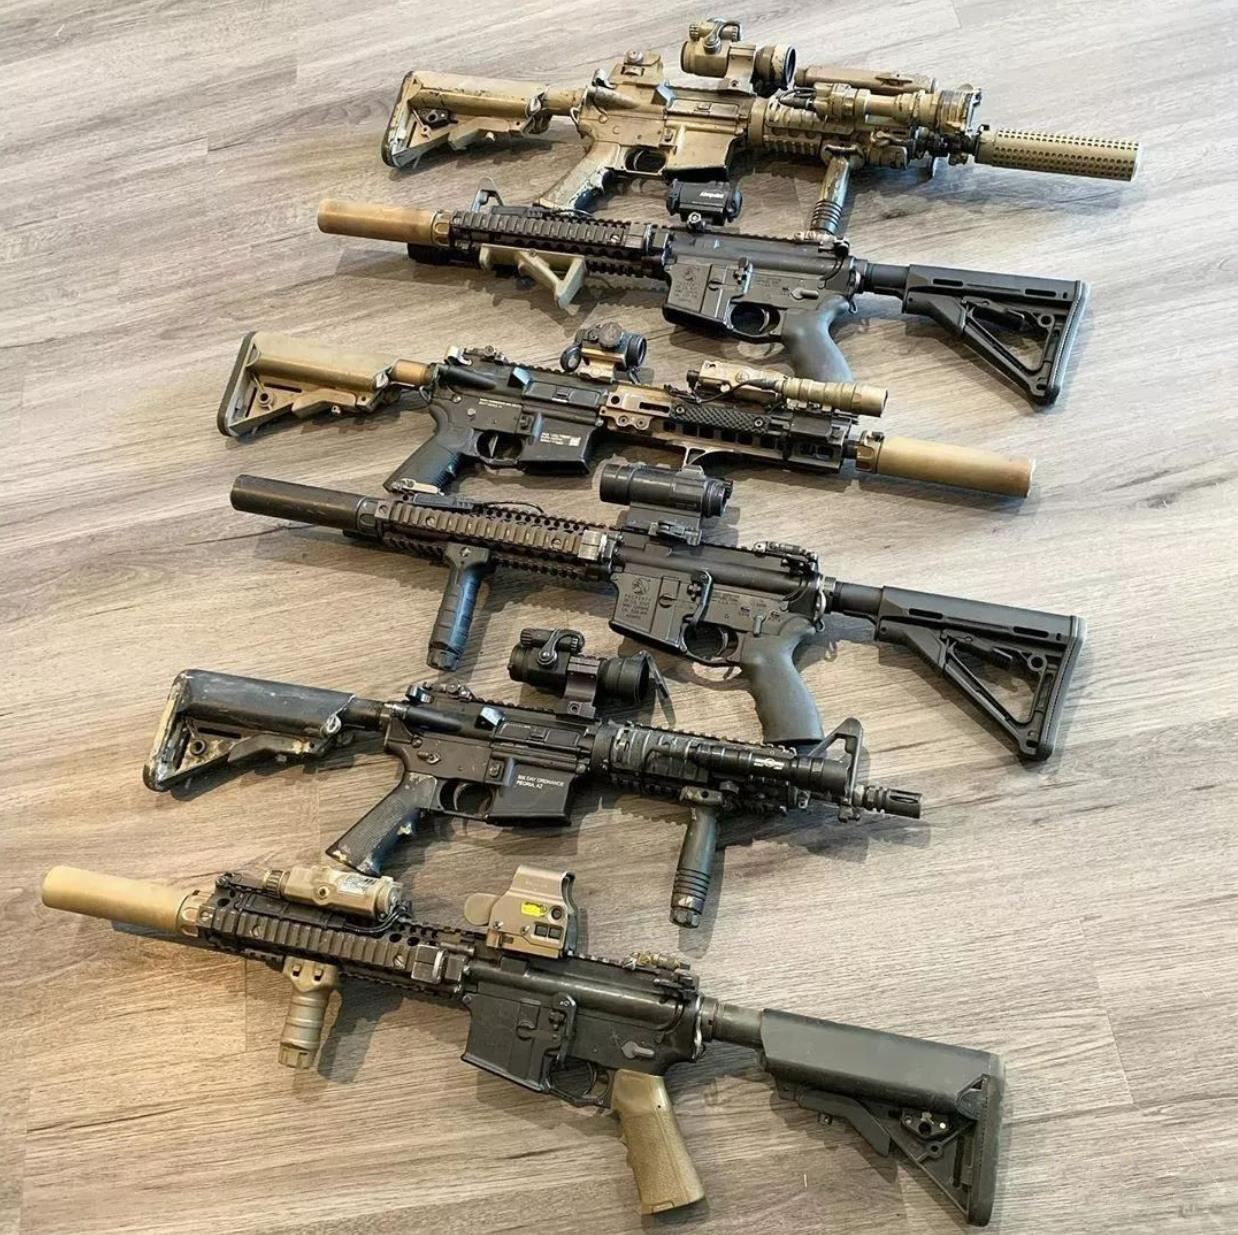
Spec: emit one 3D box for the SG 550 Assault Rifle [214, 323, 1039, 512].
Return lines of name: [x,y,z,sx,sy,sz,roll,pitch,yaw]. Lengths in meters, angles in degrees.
SG 550 Assault Rifle: [0.151,-0.850,6.488,3.559,0.494,0.905,9,89,15]

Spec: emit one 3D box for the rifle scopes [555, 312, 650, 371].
rifle scopes: [-0.073,-1.185,6.540,0.348,0.130,0.260,17,67,12]

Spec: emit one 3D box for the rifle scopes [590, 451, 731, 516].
rifle scopes: [0.123,-0.551,6.155,0.604,0.171,0.220,8,17,17]

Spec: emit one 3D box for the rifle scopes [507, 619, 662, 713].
rifle scopes: [-0.177,0.187,5.786,0.668,0.284,0.253,10,81,22]

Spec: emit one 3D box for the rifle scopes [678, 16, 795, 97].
rifle scopes: [0.562,-2.669,7.214,0.544,0.208,0.386,3,69,12]
